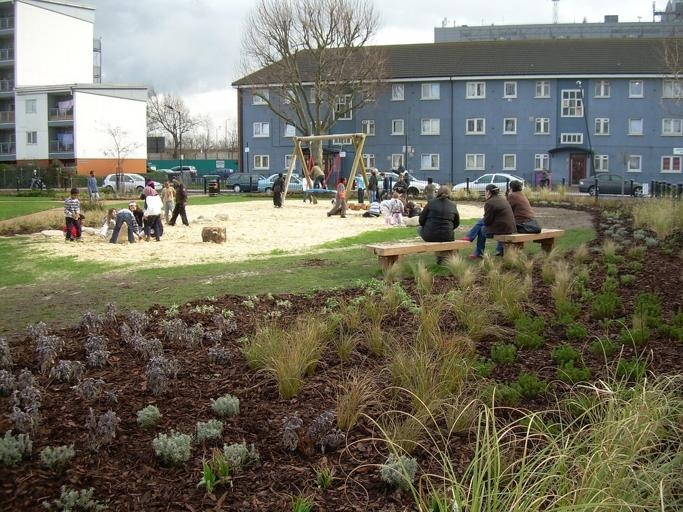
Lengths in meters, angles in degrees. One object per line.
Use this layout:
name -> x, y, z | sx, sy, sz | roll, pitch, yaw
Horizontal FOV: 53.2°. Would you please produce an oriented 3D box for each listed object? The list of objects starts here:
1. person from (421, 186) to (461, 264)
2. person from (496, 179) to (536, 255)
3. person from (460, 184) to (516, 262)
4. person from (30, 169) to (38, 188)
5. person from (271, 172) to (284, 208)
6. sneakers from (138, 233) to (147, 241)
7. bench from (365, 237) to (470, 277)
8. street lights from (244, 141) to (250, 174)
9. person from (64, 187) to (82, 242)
person -> 1.832, -0.511, 12.662 | 0.626, 1.521, 0.782 | 6, 3, 5
person -> 3.450, -0.709, 13.706 | 0.769, 1.576, 0.593 | -2, -5, 31
person -> 2.869, -0.628, 12.849 | 0.901, 1.319, 0.666 | 1, 9, 15
person -> -22.004, -5.501, 48.865 | 0.584, 1.169, 2.497 | -5, 10, -24
person -> -2.901, -2.999, 31.827 | 0.426, 1.508, 1.683 | -2, 9, -7
sneakers -> -5.483, -0.491, 18.916 | 0.145, 0.205, 0.462 | -3, 4, -12
bench -> 1.301, -0.026, 11.743 | 0.827, 0.458, 2.041 | 8, 13, 43
street lights -> -7.949, -8.340, 57.873 | 0.200, 2.251, 0.754 | -8, 11, -39
person -> -7.281, -1.069, 18.562 | 0.481, 1.474, 0.408 | 11, 13, 29
